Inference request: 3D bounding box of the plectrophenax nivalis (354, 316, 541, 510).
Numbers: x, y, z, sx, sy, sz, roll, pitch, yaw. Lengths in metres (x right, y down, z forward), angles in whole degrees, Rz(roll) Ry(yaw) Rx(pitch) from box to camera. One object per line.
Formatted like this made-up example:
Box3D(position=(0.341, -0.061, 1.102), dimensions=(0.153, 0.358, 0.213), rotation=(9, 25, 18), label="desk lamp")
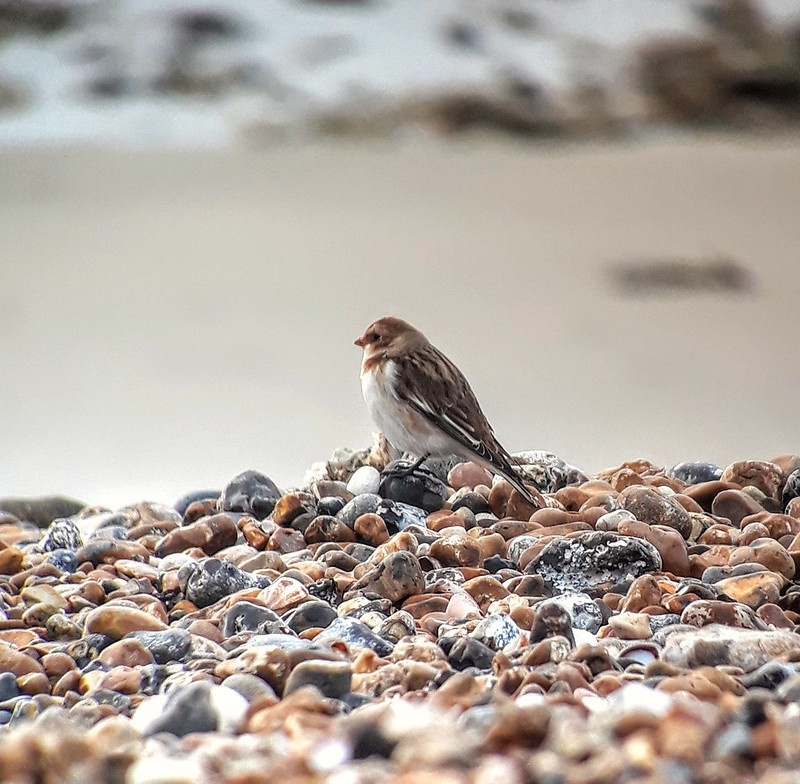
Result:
Box3D(position=(0.216, 0.051, 5.203), dimensions=(0.766, 0.577, 0.395), rotation=(9, 2, 3), label="plectrophenax nivalis")
